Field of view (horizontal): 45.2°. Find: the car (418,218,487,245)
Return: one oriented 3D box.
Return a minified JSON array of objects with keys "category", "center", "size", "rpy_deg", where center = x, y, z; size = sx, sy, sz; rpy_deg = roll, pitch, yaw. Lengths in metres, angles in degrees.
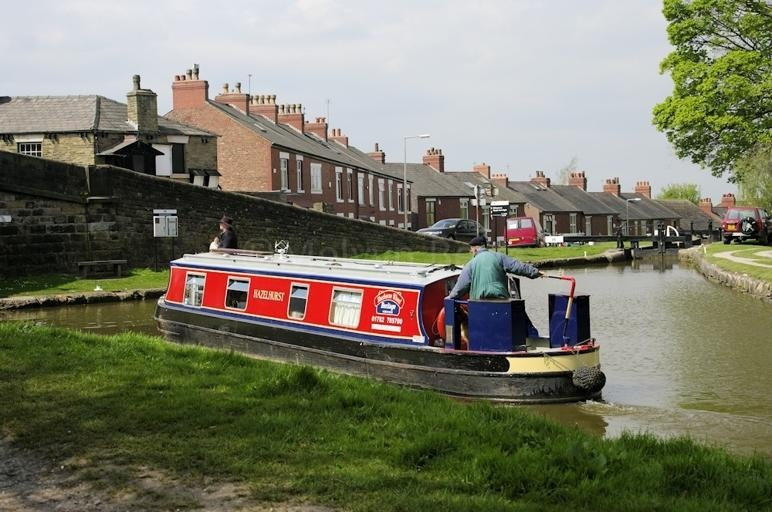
[{"category":"car","center":[3.597,-1.363,48.908],"size":[3.621,1.146,1.636],"rpy_deg":[4,-4,-42]}]

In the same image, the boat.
[{"category":"boat","center":[-1.362,1.496,21.502],"size":[12.594,2.911,3.278],"rpy_deg":[4,2,33]}]

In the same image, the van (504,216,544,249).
[{"category":"van","center":[7.465,-1.269,52.340],"size":[1.681,1.487,3.182],"rpy_deg":[-1,6,20]}]
